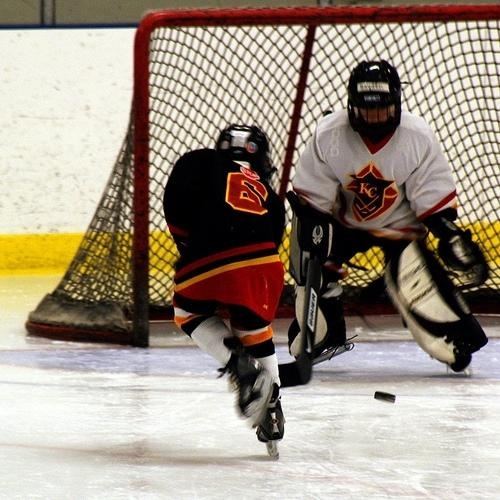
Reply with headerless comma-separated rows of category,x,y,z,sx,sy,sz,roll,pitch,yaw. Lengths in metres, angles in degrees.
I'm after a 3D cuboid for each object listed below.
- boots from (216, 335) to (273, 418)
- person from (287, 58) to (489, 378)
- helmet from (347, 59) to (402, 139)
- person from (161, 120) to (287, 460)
boots,-0.009,0.274,1.412,0.097,0.065,0.191,-25,52,-6
person,0.454,-0.102,2.097,0.641,1.003,0.403,0,4,-6
helmet,0.380,-0.459,1.925,0.158,0.245,0.125,1,4,8
person,-0.058,0.066,1.521,0.290,0.780,0.396,0,4,1
